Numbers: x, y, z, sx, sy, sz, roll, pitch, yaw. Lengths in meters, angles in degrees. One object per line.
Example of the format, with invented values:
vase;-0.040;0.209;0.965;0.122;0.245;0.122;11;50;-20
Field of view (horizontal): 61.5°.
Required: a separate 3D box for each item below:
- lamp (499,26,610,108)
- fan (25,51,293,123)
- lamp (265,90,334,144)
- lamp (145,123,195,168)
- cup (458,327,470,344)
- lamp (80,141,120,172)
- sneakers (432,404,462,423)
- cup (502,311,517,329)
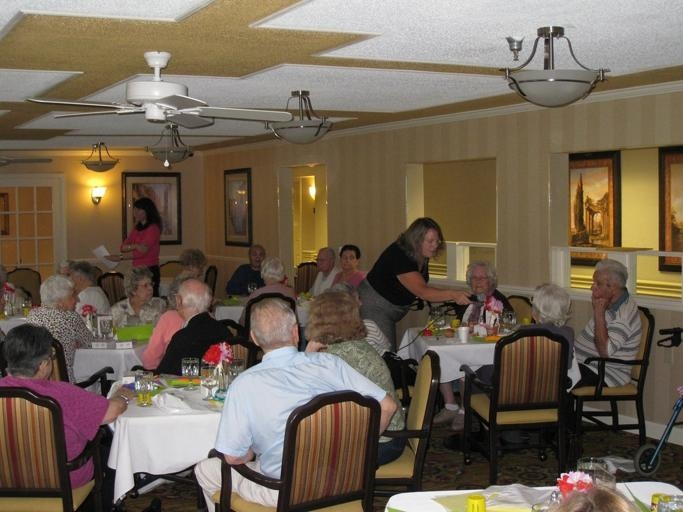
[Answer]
lamp;1.139;-1.029;3.108;0.557;0.419;0.506;0;17;14
fan;-1.168;-1.114;3.852;1.524;0.411;1.594;-4;11;-26
lamp;-0.368;-1.207;4.962;0.563;0.363;0.435;-1;15;2
lamp;-2.385;-1.521;7.879;0.658;0.564;0.665;5;11;16
cup;1.052;0.696;5.009;0.121;0.122;0.116;0;-2;0
lamp;-4.557;-1.824;10.790;0.773;0.534;0.783;6;8;37
sneakers;0.978;1.484;5.431;0.371;0.151;0.121;-26;31;40
cup;1.515;0.578;5.174;0.148;0.153;0.143;2;-4;0
